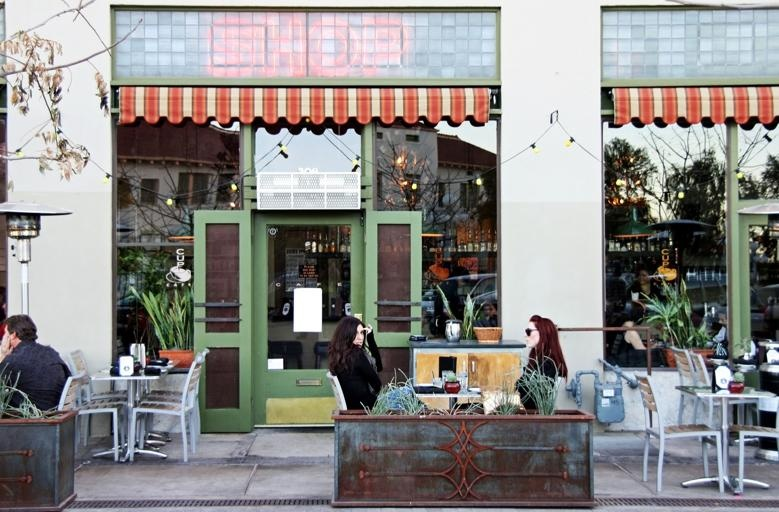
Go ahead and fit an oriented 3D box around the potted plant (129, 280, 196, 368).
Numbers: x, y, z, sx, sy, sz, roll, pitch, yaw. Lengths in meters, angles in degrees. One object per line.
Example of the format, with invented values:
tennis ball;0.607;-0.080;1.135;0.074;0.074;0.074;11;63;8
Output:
potted plant;-3.266;1.004;13.739;1.008;1.695;0.661;0;-5;-28

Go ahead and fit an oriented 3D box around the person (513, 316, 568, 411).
person;1.944;1.341;12.254;0.570;1.264;0.798;1;12;19

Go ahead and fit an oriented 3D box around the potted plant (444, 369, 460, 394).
potted plant;0.738;1.531;11.810;0.191;0.290;0.205;2;-10;-14

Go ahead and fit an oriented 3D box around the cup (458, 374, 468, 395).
cup;0.923;1.569;12.079;0.144;0.203;0.150;0;-5;0

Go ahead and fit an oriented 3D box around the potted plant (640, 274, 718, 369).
potted plant;4.177;0.879;14.033;0.848;1.069;0.497;-4;17;18

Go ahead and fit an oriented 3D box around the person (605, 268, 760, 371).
person;3.933;0.884;14.032;1.042;0.976;2.141;1;-7;-3

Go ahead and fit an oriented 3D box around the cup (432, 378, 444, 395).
cup;0.595;1.602;11.923;0.113;0.158;0.340;1;3;-2

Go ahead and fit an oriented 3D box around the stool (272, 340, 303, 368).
stool;-1.515;1.364;14.133;0.363;0.546;0.390;1;6;-2

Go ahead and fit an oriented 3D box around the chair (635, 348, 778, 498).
chair;3.884;2.162;12.330;1.492;1.701;1.264;0;-1;-3
